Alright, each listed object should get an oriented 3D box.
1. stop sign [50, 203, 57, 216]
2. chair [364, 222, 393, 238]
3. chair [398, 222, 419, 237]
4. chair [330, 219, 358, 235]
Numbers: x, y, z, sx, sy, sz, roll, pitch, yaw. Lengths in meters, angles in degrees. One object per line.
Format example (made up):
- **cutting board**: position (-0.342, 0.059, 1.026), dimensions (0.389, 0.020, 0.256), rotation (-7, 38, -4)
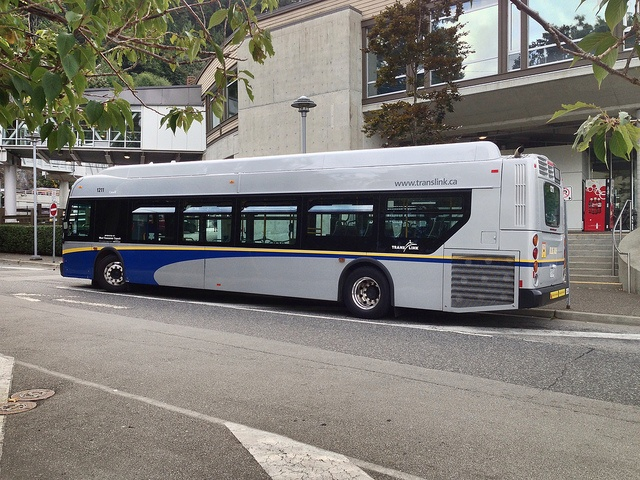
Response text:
- **stop sign**: position (-12.806, -1.452, 25.195), dimensions (0.201, 0.667, 0.762), rotation (-2, 4, -35)
- **chair**: position (1.328, -0.231, 11.446), dimensions (0.692, 0.361, 0.256), rotation (5, 1, 35)
- **chair**: position (1.888, -0.210, 11.238), dimensions (0.435, 0.485, 0.265), rotation (1, -4, 35)
- **chair**: position (0.558, -0.265, 11.842), dimensions (0.487, 0.368, 0.309), rotation (2, 3, 27)
